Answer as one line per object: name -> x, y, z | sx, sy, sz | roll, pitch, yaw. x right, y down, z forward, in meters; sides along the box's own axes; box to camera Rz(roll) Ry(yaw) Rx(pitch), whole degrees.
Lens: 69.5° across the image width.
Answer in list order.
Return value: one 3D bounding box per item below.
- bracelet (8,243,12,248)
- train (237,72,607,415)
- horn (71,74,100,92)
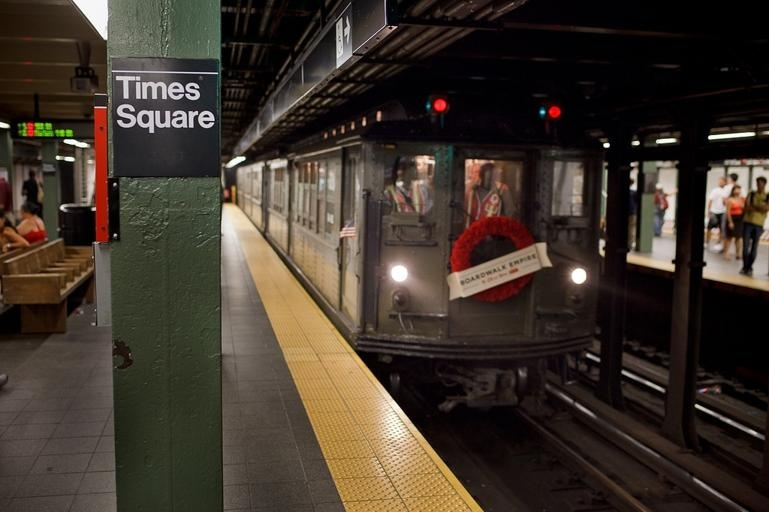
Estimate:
bracelet -> -6.377, -0.193, 9.415 | 0.060, 0.064, 0.015 | -3, 9, -27
train -> 0.060, -0.250, 8.572 | 2.707, 4.568, 5.537 | -8, 14, -39
horn -> -5.016, -2.889, 9.261 | 0.366, 0.280, 0.483 | -4, 13, -25
